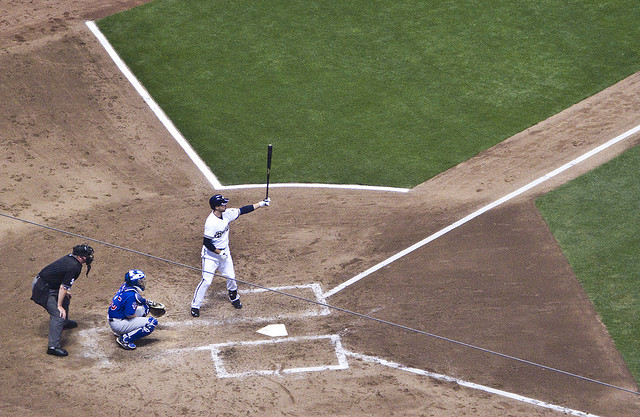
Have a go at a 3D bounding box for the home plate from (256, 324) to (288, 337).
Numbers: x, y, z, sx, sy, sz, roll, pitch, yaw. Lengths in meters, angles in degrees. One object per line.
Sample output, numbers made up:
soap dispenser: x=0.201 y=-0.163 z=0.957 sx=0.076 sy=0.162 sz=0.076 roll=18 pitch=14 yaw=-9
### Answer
home plate: x=-1.085 y=2.912 z=25.246 sx=0.471 sy=0.016 sz=0.290 roll=-6 pitch=29 yaw=-16

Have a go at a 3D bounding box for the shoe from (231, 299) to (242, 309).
shoe: x=-1.997 y=2.339 z=25.709 sx=0.253 sy=0.148 sz=0.221 roll=-10 pitch=54 yaw=-13

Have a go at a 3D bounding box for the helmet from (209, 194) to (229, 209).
helmet: x=-2.494 y=-0.171 z=25.222 sx=0.493 sy=0.196 sz=0.270 roll=-18 pitch=23 yaw=-4

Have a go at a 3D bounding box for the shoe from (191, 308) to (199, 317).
shoe: x=-3.001 y=2.500 z=25.394 sx=0.183 sy=0.170 sz=0.184 roll=-2 pitch=54 yaw=-7
